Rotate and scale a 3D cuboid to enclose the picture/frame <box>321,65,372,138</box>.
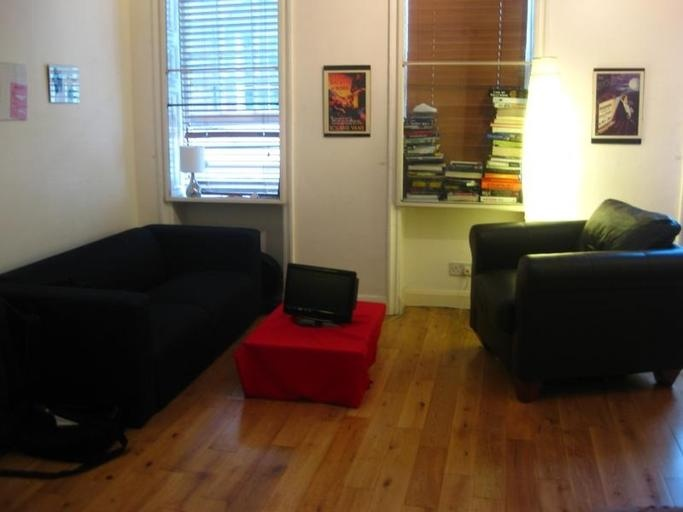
[{"bbox_3d":[0.052,-1.306,4.543,0.531,0.734,0.052,0,5,5],"label":"picture/frame"}]

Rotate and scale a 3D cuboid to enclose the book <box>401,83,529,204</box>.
[{"bbox_3d":[1.032,-0.959,4.500,0.936,0.949,0.227,2,4,11],"label":"book"}]

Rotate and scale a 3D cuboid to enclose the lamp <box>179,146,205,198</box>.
[{"bbox_3d":[-1.276,-0.739,4.799,0.222,0.455,0.296,-3,19,-5],"label":"lamp"}]

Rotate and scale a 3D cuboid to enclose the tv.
[{"bbox_3d":[-0.146,0.220,3.724,0.458,0.417,0.266,7,19,-1],"label":"tv"}]

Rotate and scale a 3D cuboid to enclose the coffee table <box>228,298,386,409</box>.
[{"bbox_3d":[-0.180,0.620,3.577,0.834,0.439,0.632,1,20,6],"label":"coffee table"}]
